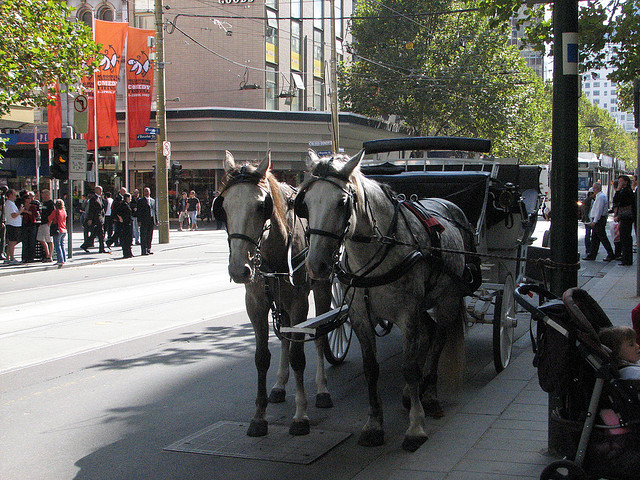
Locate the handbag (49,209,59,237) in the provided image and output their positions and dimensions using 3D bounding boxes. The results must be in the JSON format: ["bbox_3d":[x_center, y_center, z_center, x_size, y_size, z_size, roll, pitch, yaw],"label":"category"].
[{"bbox_3d":[-7.670,-0.410,24.435,0.272,0.712,0.720,-4,12,-18],"label":"handbag"}]

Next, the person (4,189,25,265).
[{"bbox_3d":[-8.898,-0.301,24.688,0.653,2.173,1.299,-5,12,-20],"label":"person"}]

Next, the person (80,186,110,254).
[{"bbox_3d":[-7.500,-0.590,28.170,0.750,2.035,1.256,-4,11,-15],"label":"person"}]

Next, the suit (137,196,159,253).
[{"bbox_3d":[-5.672,-0.578,28.016,0.719,2.218,0.606,-2,3,-24],"label":"suit"}]

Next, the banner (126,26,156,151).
[{"bbox_3d":[-8.256,-7.020,39.307,1.499,5.696,0.156,0,-1,4],"label":"banner"}]

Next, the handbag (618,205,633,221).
[{"bbox_3d":[7.967,-0.664,21.970,0.183,0.339,0.351,13,-16,-38],"label":"handbag"}]

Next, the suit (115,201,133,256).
[{"bbox_3d":[-6.155,-0.316,26.876,0.435,1.598,1.216,-3,11,-13],"label":"suit"}]

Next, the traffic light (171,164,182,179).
[{"bbox_3d":[-5.868,-2.775,34.868,0.376,0.626,0.676,-3,11,-14],"label":"traffic light"}]

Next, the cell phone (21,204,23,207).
[{"bbox_3d":[-8.728,-0.976,24.841,0.072,0.074,0.064,1,2,20],"label":"cell phone"}]

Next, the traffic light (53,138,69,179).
[{"bbox_3d":[-7.832,-2.413,25.700,0.498,1.194,0.522,-4,11,-15],"label":"traffic light"}]

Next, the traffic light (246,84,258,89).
[{"bbox_3d":[-3.828,-8.659,48.478,0.556,0.224,1.832,-1,11,-5],"label":"traffic light"}]
